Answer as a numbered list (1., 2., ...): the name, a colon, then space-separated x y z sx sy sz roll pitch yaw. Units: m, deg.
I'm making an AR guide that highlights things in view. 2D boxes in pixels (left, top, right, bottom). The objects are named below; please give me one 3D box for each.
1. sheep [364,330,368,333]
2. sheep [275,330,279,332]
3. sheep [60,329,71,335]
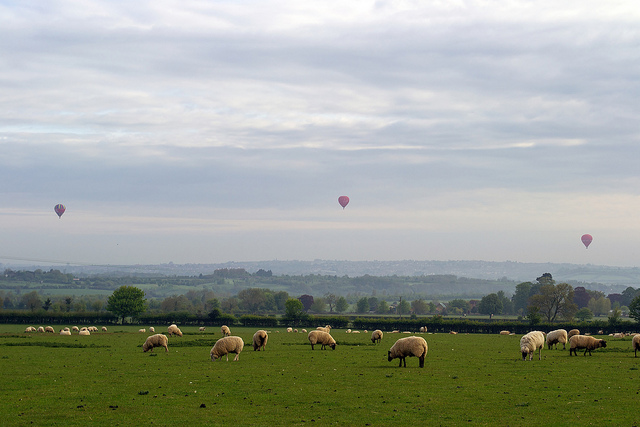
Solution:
1. sheep: 11.778 30.722 305.196 0.642 0.712 0.354 -4 -10 6
2. sheep: -11.127 30.285 300.936 0.354 0.552 1.138 -8 -6 43
3. sheep: -60.308 28.368 278.666 2.467 0.869 2.289 2 -1 -12
